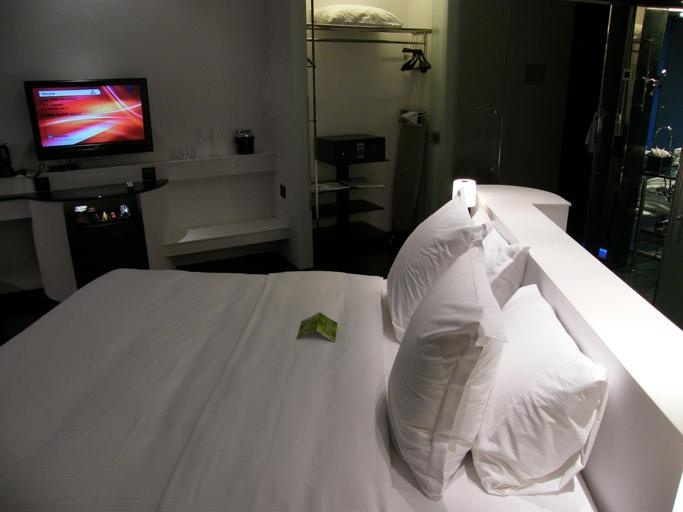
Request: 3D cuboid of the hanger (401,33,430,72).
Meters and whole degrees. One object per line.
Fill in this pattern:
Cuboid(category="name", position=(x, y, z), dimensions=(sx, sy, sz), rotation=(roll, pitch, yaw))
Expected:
Cuboid(category="hanger", position=(0.622, -1.676, 3.737), dimensions=(0.274, 0.303, 0.056), rotation=(11, 23, 32))
